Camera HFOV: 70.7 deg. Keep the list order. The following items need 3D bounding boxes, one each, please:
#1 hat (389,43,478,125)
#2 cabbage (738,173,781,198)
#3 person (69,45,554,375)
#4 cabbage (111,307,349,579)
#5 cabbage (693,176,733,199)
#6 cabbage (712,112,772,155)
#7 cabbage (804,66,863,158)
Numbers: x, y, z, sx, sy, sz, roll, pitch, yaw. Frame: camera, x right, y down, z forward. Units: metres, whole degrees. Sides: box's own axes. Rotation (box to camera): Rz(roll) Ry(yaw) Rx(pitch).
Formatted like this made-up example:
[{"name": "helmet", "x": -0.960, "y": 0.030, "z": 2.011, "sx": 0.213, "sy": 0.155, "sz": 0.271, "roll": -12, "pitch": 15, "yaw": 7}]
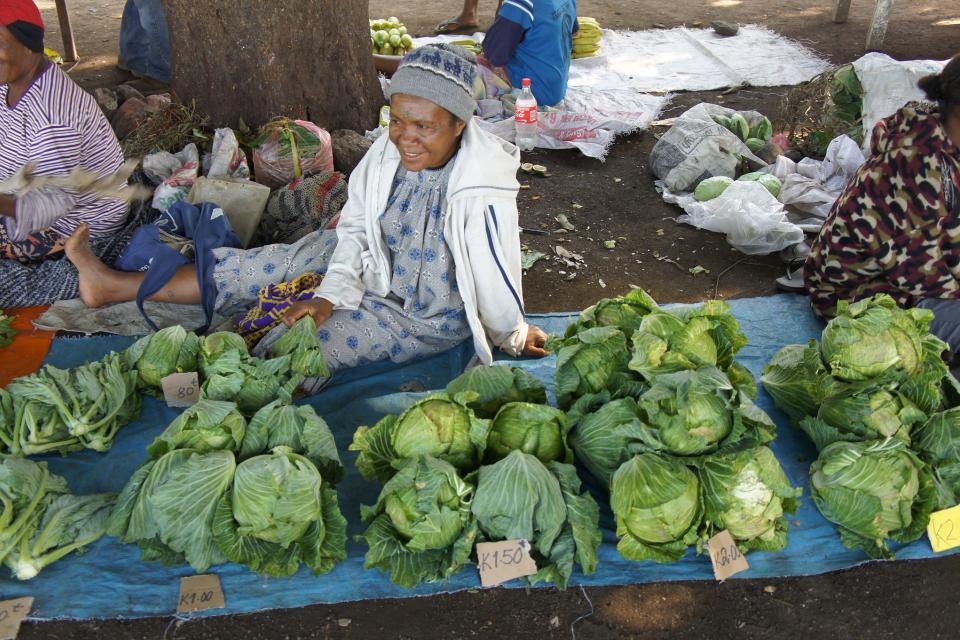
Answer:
[{"name": "hat", "x": -0.241, "y": -1.268, "z": 3.627, "sx": 0.455, "sy": 0.330, "sz": 0.364, "roll": 1, "pitch": 40, "yaw": -4}, {"name": "cabbage", "x": 2.346, "y": -1.102, "z": 5.616, "sx": 0.235, "sy": 0.151, "sz": 0.282, "roll": 3, "pitch": 8, "yaw": 23}, {"name": "person", "x": -0.791, "y": -0.470, "z": 3.981, "sx": 1.590, "sy": 2.168, "sz": 1.175, "roll": -18, "pitch": 27, "yaw": -38}, {"name": "cabbage", "x": -1.199, "y": 0.620, "z": 3.294, "sx": 1.039, "sy": 0.695, "sz": 1.166, "roll": -4, "pitch": 40, "yaw": -9}, {"name": "cabbage", "x": 1.931, "y": -1.095, "z": 5.639, "sx": 0.275, "sy": 0.141, "sz": 0.195, "roll": -20, "pitch": 11, "yaw": 18}, {"name": "cabbage", "x": 2.453, "y": -1.776, "z": 6.301, "sx": 0.472, "sy": 0.189, "sz": 0.479, "roll": 33, "pitch": 35, "yaw": 21}, {"name": "cabbage", "x": 3.240, "y": -1.910, "z": 6.313, "sx": 0.459, "sy": 0.795, "sz": 0.493, "roll": 2, "pitch": -7, "yaw": 17}]
